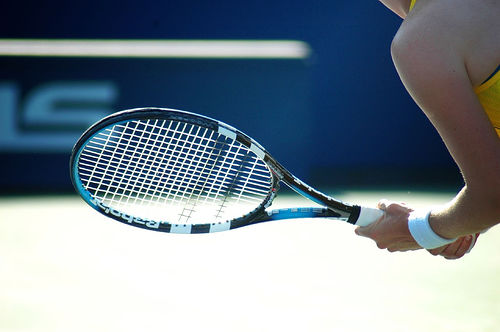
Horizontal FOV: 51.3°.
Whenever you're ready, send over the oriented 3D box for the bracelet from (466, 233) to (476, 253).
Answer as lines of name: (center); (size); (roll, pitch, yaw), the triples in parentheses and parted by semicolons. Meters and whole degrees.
bracelet: (1.158, 0.406, 2.794); (0.053, 0.102, 0.021); (13, 13, -11)
